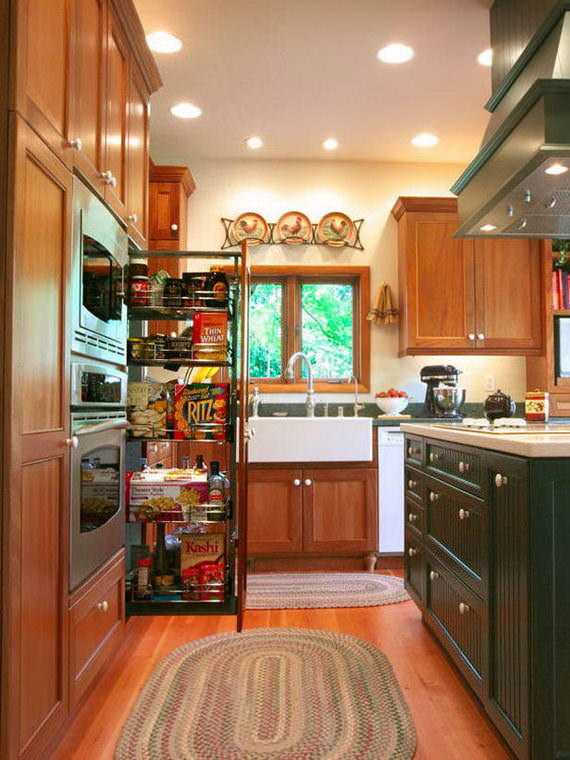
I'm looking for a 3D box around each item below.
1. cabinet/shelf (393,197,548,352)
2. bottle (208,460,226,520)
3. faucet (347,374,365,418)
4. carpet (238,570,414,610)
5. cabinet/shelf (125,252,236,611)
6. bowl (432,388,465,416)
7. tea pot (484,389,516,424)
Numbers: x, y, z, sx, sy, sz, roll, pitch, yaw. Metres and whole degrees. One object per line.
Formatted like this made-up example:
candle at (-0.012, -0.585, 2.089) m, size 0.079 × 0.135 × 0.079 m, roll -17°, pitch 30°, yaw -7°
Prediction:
cabinet/shelf at (1.077, -0.567, 3.471) m, size 0.888 × 0.882 × 0.365 m, roll 1°, pitch -4°, yaw -3°
bottle at (-0.292, 0.467, 2.611) m, size 0.082 × 0.237 × 0.151 m, roll 0°, pitch -4°, yaw -7°
faucet at (0.460, 0.109, 3.960) m, size 0.086 × 0.254 × 0.205 m, roll -1°, pitch -4°, yaw 7°
carpet at (0.206, 1.035, 3.059) m, size 0.804 × 0.026 × 0.631 m, roll 0°, pitch -4°, yaw -1°
cabinet/shelf at (-0.484, 0.160, 2.864) m, size 0.497 × 1.629 × 0.974 m, roll 1°, pitch -4°, yaw -10°
bowl at (0.770, 0.102, 2.916) m, size 0.171 × 0.161 × 0.198 m, roll 0°, pitch -5°, yaw 1°
tea pot at (0.831, 0.097, 2.309) m, size 0.133 × 0.140 × 0.106 m, roll 1°, pitch -4°, yaw -3°
